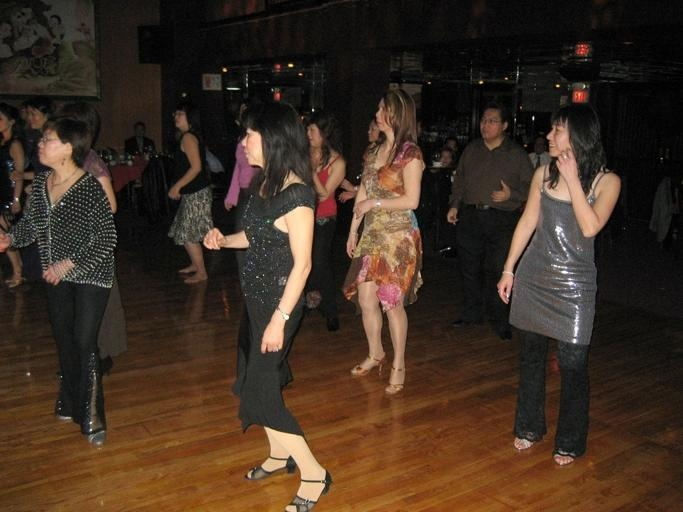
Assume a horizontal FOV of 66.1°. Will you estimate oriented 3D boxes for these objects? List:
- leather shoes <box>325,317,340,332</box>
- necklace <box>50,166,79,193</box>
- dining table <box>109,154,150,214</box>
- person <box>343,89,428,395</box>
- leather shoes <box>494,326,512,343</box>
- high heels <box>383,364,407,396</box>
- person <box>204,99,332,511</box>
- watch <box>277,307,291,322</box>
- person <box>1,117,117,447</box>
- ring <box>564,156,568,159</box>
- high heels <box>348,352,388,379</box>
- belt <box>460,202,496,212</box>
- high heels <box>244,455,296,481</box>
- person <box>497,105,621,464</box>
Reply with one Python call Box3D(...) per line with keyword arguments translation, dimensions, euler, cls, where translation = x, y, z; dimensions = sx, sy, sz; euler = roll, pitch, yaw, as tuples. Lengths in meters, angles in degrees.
Box3D(translation=(-0.084, 0.633, 4.890), dimensions=(0.153, 0.141, 0.090), euler=(-2, 11, -19), cls="leather shoes")
Box3D(translation=(-1.597, -0.439, 2.984), dimensions=(0.241, 0.132, 0.117), euler=(7, 15, 22), cls="necklace")
Box3D(translation=(-3.916, -1.197, 9.454), dimensions=(0.748, 0.714, 0.757), euler=(-8, 10, -41), cls="dining table")
Box3D(translation=(0.305, -0.097, 3.750), dimensions=(0.554, 2.111, 0.571), euler=(3, 14, 4), cls="person")
Box3D(translation=(1.487, 0.708, 4.807), dimensions=(0.087, 0.061, 0.146), euler=(-18, 34, -10), cls="leather shoes")
Box3D(translation=(0.375, 0.891, 3.736), dimensions=(0.090, 0.087, 0.245), euler=(1, 15, 17), cls="high heels")
Box3D(translation=(-0.278, 0.269, 2.472), dimensions=(0.426, 1.912, 0.415), euler=(-1, 14, -12), cls="person")
Box3D(translation=(-0.259, 0.248, 2.295), dimensions=(0.054, 0.031, 0.068), euler=(-9, 38, -34), cls="watch")
Box3D(translation=(-1.523, 0.139, 3.035), dimensions=(0.536, 1.819, 0.335), euler=(12, 17, 36), cls="person")
Box3D(translation=(1.135, -0.502, 2.657), dimensions=(0.020, 0.014, 0.006), euler=(16, 38, 13), cls="ring")
Box3D(translation=(0.196, 0.830, 4.077), dimensions=(0.307, 0.154, 0.126), euler=(-13, 16, -16), cls="high heels")
Box3D(translation=(1.241, -0.461, 4.850), dimensions=(0.055, 0.076, 0.330), euler=(-12, 19, -43), cls="belt")
Box3D(translation=(-0.375, 1.130, 2.838), dimensions=(0.310, 0.129, 0.115), euler=(-1, 10, -13), cls="high heels")
Box3D(translation=(1.194, 0.162, 2.965), dimensions=(0.580, 1.982, 0.367), euler=(10, 16, 30), cls="person")
